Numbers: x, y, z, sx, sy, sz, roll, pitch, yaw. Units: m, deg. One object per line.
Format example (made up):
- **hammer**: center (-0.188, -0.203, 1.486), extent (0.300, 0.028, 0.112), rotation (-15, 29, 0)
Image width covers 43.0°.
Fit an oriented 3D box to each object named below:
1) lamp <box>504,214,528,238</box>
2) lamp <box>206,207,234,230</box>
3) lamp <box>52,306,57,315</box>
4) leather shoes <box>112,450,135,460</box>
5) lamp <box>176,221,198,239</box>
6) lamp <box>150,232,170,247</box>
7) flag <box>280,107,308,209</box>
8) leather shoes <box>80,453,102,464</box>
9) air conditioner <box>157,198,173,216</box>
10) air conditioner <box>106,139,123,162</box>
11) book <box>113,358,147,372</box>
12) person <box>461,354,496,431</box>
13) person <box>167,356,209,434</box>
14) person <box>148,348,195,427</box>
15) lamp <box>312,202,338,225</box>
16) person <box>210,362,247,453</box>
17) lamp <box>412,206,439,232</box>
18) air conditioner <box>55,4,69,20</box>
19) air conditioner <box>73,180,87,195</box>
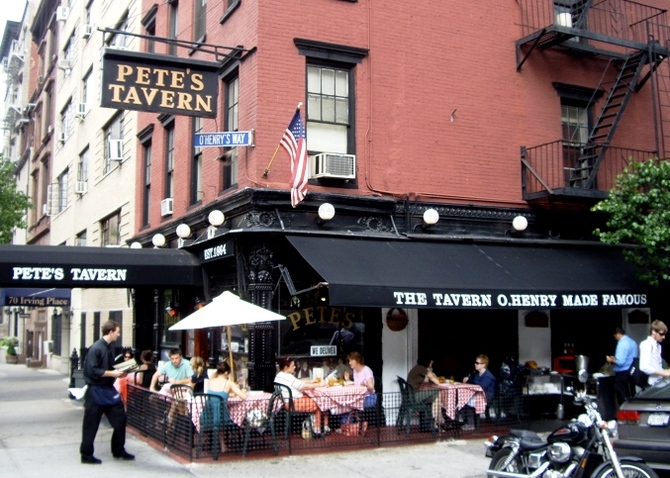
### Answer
- **lamp**: center (4.895, -0.341, 22.716), extent (0.428, 0.672, 0.624), rotation (22, 28, 20)
- **lamp**: center (-3.020, -0.538, 21.715), extent (0.533, 0.458, 0.716), rotation (7, -11, -31)
- **lamp**: center (-13.984, 3.624, 42.299), extent (0.154, 0.405, 1.437), rotation (5, -10, -24)
- **leather shoes**: center (-4.569, 4.656, 18.303), extent (0.501, 0.233, 0.176), rotation (1, -3, -14)
- **lamp**: center (-4.145, -0.193, 23.528), extent (0.425, 0.344, 0.415), rotation (-18, 23, -42)
- **lamp**: center (-5.313, 0.007, 25.621), extent (0.404, 0.489, 1.115), rotation (3, -10, -12)
- **flag**: center (-0.976, -2.055, 20.239), extent (0.624, 2.473, 1.113), rotation (2, -9, -3)
- **leather shoes**: center (-5.170, 4.648, 17.919), extent (0.444, 0.205, 0.171), rotation (1, -5, -8)
- **air conditioner**: center (-5.176, -0.962, 25.805), extent (0.174, 0.442, 0.496), rotation (4, -9, -28)
- **air conditioner**: center (-7.980, -3.186, 30.637), extent (0.591, 0.900, 0.867), rotation (3, -9, -15)
- **book**: center (-5.569, 3.389, 22.664), extent (0.597, 0.236, 0.614), rotation (-2, -1, 45)
- **person**: center (3.609, 3.581, 20.928), extent (0.628, 1.337, 0.685), rotation (-14, 13, -32)
- **person**: center (-3.523, 3.468, 19.049), extent (0.727, 1.877, 1.012), rotation (-7, -2, -6)
- **person**: center (-3.854, 3.535, 19.847), extent (0.862, 1.155, 1.843), rotation (-7, 29, -11)
- **lamp**: center (-0.211, -0.623, 20.884), extent (0.472, 0.536, 0.492), rotation (1, -9, -1)
- **person**: center (-2.464, 3.691, 18.697), extent (0.916, 1.911, 0.822), rotation (2, -9, -3)
- **lamp**: center (2.378, -0.502, 21.901), extent (0.783, 0.661, 0.501), rotation (2, -9, -5)
- **air conditioner**: center (-13.070, -10.972, 40.593), extent (0.684, 0.995, 0.951), rotation (-1, -1, -20)
- **air conditioner**: center (-10.667, -2.104, 35.406), extent (0.552, 0.817, 0.770), rotation (-2, 2, -33)
